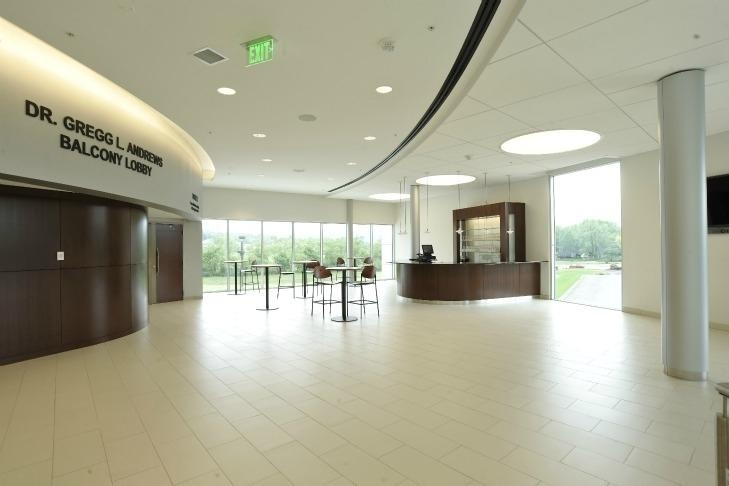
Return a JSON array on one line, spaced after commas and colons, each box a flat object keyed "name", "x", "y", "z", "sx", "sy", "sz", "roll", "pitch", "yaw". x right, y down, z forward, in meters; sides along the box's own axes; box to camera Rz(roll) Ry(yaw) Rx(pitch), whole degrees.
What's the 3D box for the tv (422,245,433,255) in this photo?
[{"name": "tv", "x": 1.728, "y": 0.187, "z": 11.773, "sx": 0.263, "sy": 0.262, "sz": 0.093, "roll": 0, "pitch": -8, "yaw": -1}]
